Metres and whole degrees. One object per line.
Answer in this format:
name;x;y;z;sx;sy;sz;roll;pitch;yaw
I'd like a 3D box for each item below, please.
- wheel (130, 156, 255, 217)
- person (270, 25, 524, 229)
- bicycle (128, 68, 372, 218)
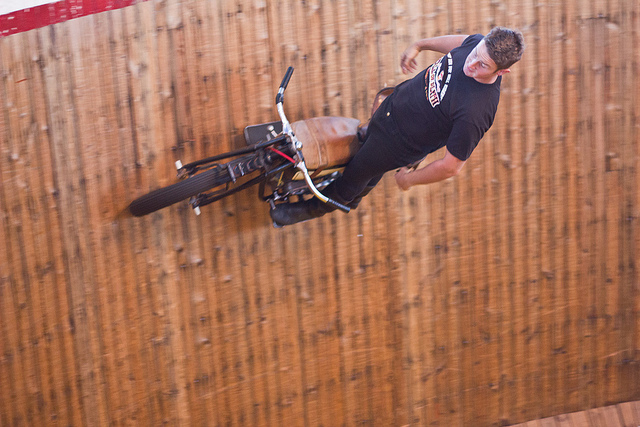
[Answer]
wheel;-1.210;-0.173;12.525;0.980;0.363;0.154;-6;17;18
person;0.558;-0.814;12.665;1.837;0.717;0.545;-17;-20;34
bicycle;-0.460;-0.535;12.686;2.378;0.951;0.942;-17;4;-17
